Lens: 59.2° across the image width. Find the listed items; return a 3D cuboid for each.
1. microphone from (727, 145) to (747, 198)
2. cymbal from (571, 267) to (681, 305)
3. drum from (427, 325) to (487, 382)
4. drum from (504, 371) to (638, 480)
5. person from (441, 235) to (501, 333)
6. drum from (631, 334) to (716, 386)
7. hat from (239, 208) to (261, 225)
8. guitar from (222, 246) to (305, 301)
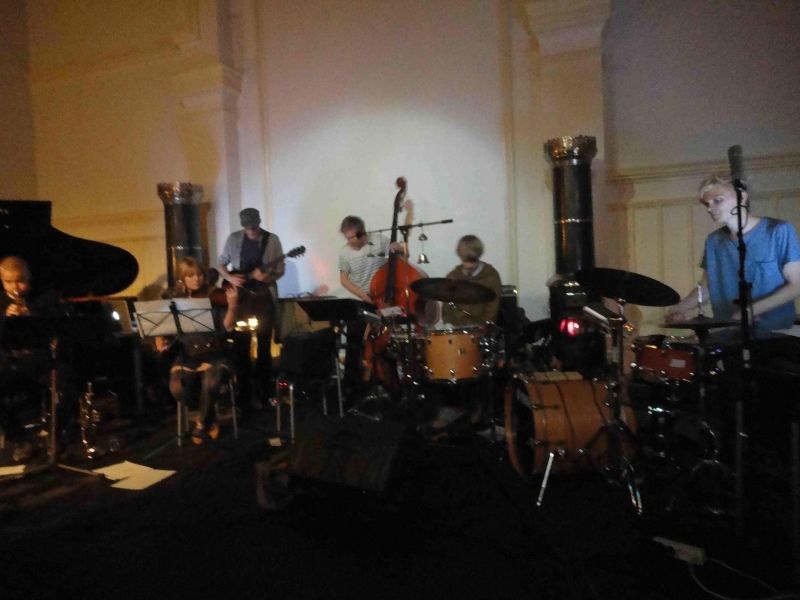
[{"bbox_3d":[2.166,-0.830,4.509,0.099,0.296,0.371,1,3,26],"label":"microphone"},{"bbox_3d":[1.566,-0.086,4.884,0.666,0.261,0.312,0,3,21],"label":"cymbal"},{"bbox_3d":[0.449,0.462,5.898,0.413,0.315,0.421,-1,-5,0],"label":"drum"},{"bbox_3d":[1.193,0.848,5.092,0.730,0.783,0.746,-2,-3,-4],"label":"drum"},{"bbox_3d":[0.673,0.043,6.778,0.541,1.269,0.359,-3,-32,11],"label":"person"},{"bbox_3d":[1.821,0.397,4.813,0.342,0.213,0.347,2,-2,0],"label":"drum"},{"bbox_3d":[-1.555,-0.858,7.353,0.165,0.115,0.214,-3,1,-13],"label":"hat"},{"bbox_3d":[-1.440,-0.280,7.383,1.427,0.207,0.195,-23,-12,31],"label":"guitar"}]
